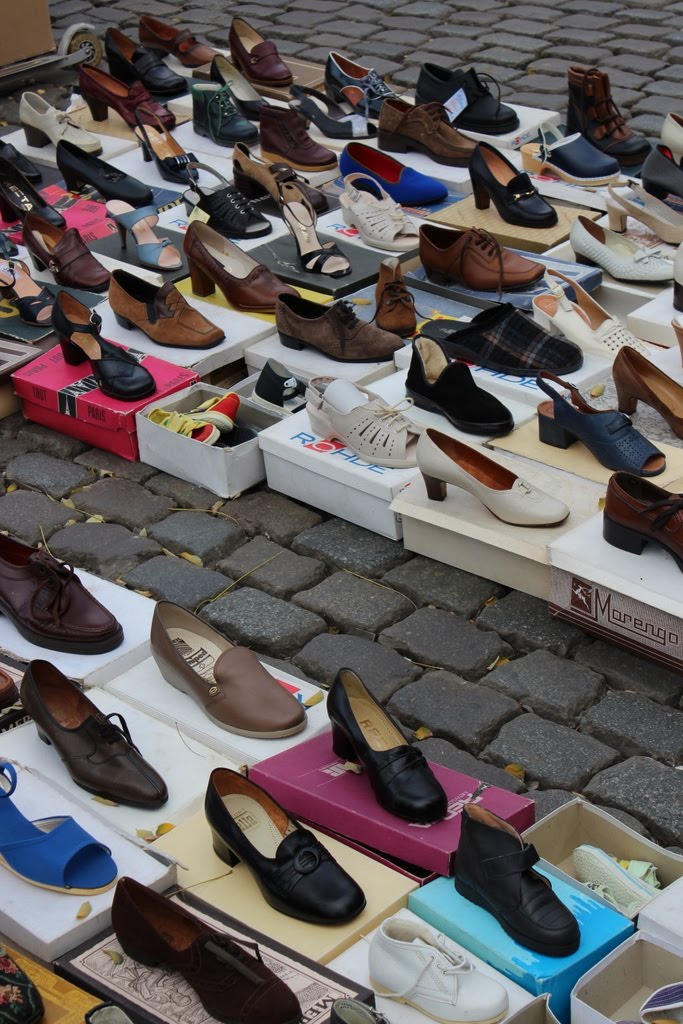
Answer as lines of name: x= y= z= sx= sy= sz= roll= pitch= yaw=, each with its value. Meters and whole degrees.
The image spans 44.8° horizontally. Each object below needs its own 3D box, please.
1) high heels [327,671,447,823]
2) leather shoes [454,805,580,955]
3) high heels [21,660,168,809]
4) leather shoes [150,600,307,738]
high heels: x=0.088 y=0.476 z=1.727 sx=0.146 sy=0.223 sz=0.341 roll=-10 pitch=17 yaw=-28
leather shoes: x=0.302 y=0.633 z=1.426 sx=0.146 sy=0.184 sz=0.236 roll=-5 pitch=16 yaw=-12
high heels: x=-0.579 y=0.518 z=1.894 sx=0.434 sy=0.157 sz=0.144 roll=26 pitch=31 yaw=26
leather shoes: x=-0.309 y=0.397 z=2.175 sx=0.559 sy=0.218 sz=0.211 roll=31 pitch=53 yaw=32
